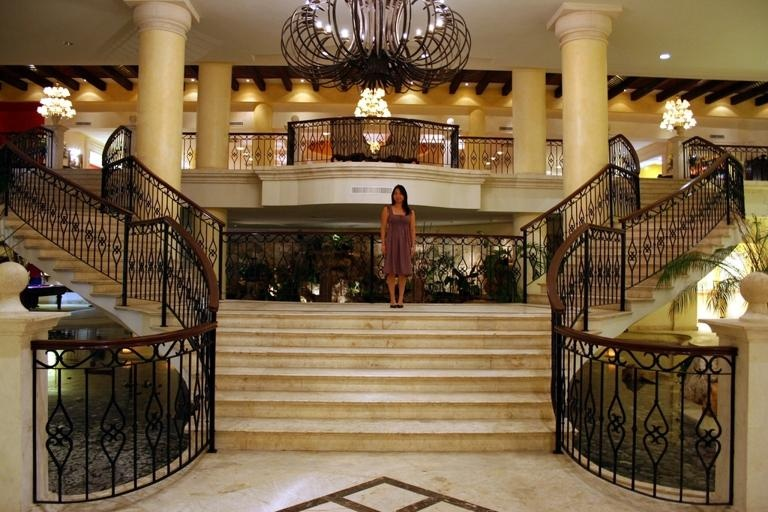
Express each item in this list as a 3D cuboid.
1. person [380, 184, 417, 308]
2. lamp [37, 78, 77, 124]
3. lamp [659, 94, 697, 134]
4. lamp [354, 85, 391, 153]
[{"bbox_3d":[0.236,-0.152,10.598,0.545,2.154,0.779,0,-4,0],"label":"person"},{"bbox_3d":[-9.788,-4.556,18.112,0.643,0.858,0.612,1,9,-42],"label":"lamp"},{"bbox_3d":[8.669,-4.069,17.971,0.621,0.927,0.607,-22,17,-28],"label":"lamp"},{"bbox_3d":[-0.113,-3.887,17.491,0.858,1.879,0.843,8,-18,-14],"label":"lamp"}]
